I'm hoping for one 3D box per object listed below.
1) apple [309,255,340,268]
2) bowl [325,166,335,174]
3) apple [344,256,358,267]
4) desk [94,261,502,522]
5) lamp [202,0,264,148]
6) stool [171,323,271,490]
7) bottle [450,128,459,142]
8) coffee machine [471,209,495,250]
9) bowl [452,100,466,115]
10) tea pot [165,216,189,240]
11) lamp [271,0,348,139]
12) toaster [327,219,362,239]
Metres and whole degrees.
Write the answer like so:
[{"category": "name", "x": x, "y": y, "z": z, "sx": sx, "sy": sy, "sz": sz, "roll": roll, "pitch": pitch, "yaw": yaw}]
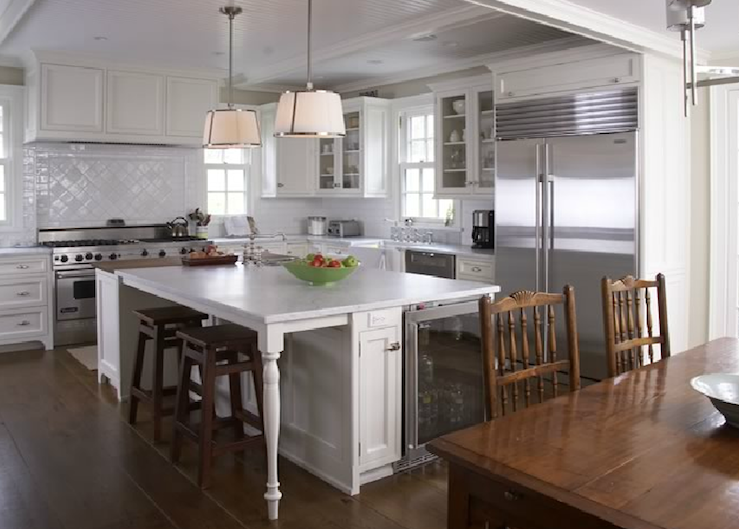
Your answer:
[{"category": "apple", "x": -0.298, "y": -0.021, "z": 3.749, "sx": 0.162, "sy": 0.057, "sz": 0.161, "roll": 3, "pitch": -3, "yaw": 6}, {"category": "bowl", "x": -0.497, "y": -1.212, "z": 7.111, "sx": 0.110, "sy": 0.066, "sz": 0.103, "roll": 0, "pitch": 1, "yaw": 0}, {"category": "apple", "x": -0.119, "y": -0.022, "z": 3.688, "sx": 0.067, "sy": 0.048, "sz": 0.080, "roll": 0, "pitch": 6, "yaw": 0}, {"category": "desk", "x": -0.513, "y": 0.435, "z": 3.431, "sx": 1.566, "sy": 1.002, "sz": 2.409, "roll": -1, "pitch": 2, "yaw": -40}, {"category": "lamp", "x": -1.173, "y": -1.522, "z": 4.744, "sx": 0.388, "sy": 1.110, "sz": 2.286, "roll": -2, "pitch": 10, "yaw": -13}, {"category": "stool", "x": -0.910, "y": 0.860, "z": 3.418, "sx": 0.696, "sy": 0.797, "sz": 0.652, "roll": -4, "pitch": -1, "yaw": 8}, {"category": "bottle", "x": 0.884, "y": -1.317, "z": 5.646, "sx": 0.121, "sy": 0.149, "sz": 0.116, "roll": -1, "pitch": 2, "yaw": 0}, {"category": "coffee machine", "x": 1.150, "y": -0.357, "z": 5.611, "sx": 0.244, "sy": 0.383, "sz": 0.167, "roll": 6, "pitch": 12, "yaw": 28}, {"category": "bowl", "x": 0.920, "y": -1.599, "z": 5.633, "sx": 0.156, "sy": 0.129, "sz": 0.135, "roll": 0, "pitch": -1, "yaw": 14}, {"category": "tea pot", "x": -2.360, "y": -0.472, "z": 6.867, "sx": 0.235, "sy": 0.292, "sz": 0.358, "roll": 0, "pitch": 1, "yaw": -10}, {"category": "lamp", "x": -0.384, "y": -1.353, "z": 3.705, "sx": 0.420, "sy": 1.028, "sz": 1.108, "roll": 0, "pitch": 10, "yaw": -4}, {"category": "toaster", "x": -0.301, "y": -0.467, "z": 7.210, "sx": 0.468, "sy": 0.204, "sz": 0.398, "roll": 0, "pitch": 9, "yaw": -2}]
